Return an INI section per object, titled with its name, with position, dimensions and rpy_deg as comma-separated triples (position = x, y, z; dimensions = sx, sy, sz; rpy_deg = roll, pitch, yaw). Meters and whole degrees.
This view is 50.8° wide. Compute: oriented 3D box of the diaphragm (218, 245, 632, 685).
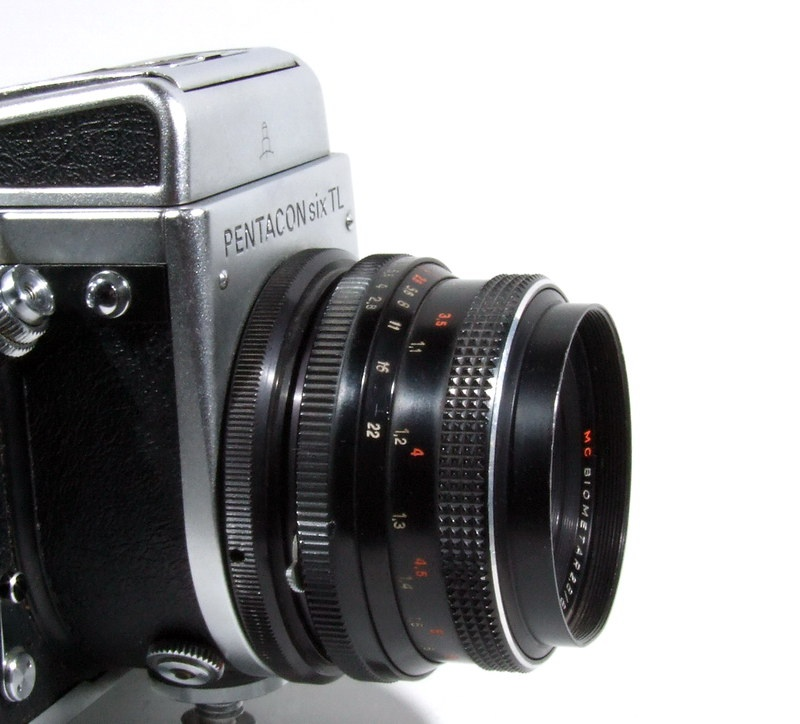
[diaphragm]
position = 0.027, 0.123, 1.155
dimensions = 0.448, 0.475, 0.450
rpy_deg = 0, -49, 10
